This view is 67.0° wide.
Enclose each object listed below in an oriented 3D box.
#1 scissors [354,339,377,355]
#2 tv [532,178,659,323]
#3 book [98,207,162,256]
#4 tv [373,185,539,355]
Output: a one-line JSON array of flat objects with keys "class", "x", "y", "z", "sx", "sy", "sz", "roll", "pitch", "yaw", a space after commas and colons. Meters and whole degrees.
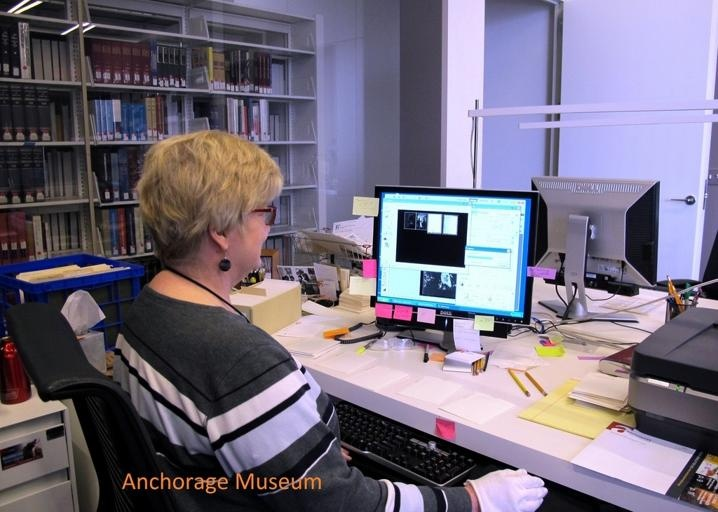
[{"class": "scissors", "x": 0.023, "y": 0.370, "z": 2.211, "sx": 0.024, "sy": 0.013, "sz": 0.181, "roll": -2, "pitch": 6, "yaw": 18}, {"class": "tv", "x": 1.090, "y": -0.044, "z": 2.504, "sx": 0.545, "sy": 0.581, "sz": 0.263, "roll": 13, "pitch": 27, "yaw": 39}, {"class": "book", "x": -1.385, "y": -0.150, "z": 3.178, "sx": 0.227, "sy": 0.304, "sz": 0.314, "roll": -6, "pitch": 7, "yaw": -28}, {"class": "tv", "x": 0.369, "y": 0.047, "z": 2.121, "sx": 0.644, "sy": 0.650, "sz": 0.209, "roll": 3, "pitch": 2, "yaw": 20}]
